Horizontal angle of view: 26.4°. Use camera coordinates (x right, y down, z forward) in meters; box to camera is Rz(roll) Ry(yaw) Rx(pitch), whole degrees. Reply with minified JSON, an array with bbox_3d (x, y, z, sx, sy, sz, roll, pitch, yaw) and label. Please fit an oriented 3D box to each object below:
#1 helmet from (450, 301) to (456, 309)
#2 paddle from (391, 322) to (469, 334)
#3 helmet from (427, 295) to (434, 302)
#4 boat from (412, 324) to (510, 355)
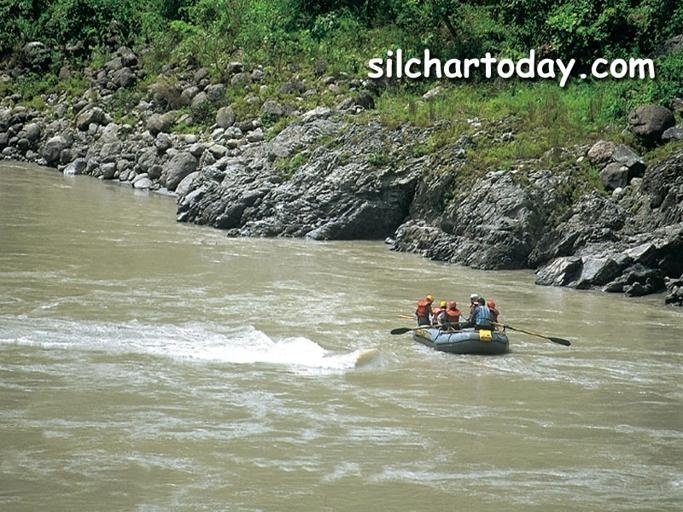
[{"bbox_3d":[3.862,1.705,50.576,0.188,0.229,0.207,-7,11,-38],"label":"helmet"},{"bbox_3d":[3.128,2.510,50.680,3.451,0.570,0.248,-3,3,32],"label":"paddle"},{"bbox_3d":[3.133,1.509,51.734,0.162,0.133,0.279,17,-13,28],"label":"helmet"},{"bbox_3d":[4.129,2.899,50.137,3.115,0.875,0.689,4,5,11],"label":"boat"}]
